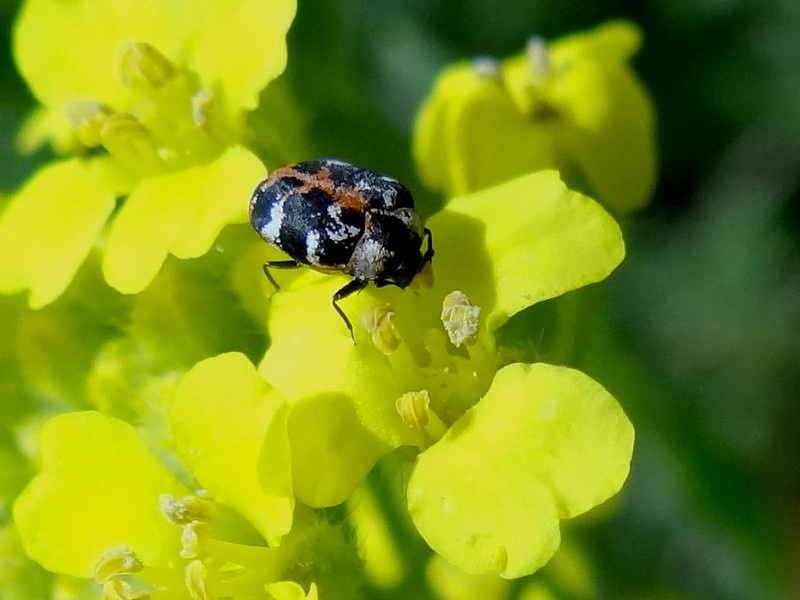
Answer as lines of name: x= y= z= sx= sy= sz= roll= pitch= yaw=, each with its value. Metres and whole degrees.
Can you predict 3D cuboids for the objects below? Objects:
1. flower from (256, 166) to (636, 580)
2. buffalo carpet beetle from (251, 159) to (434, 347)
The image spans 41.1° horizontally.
flower: x=0.117 y=0.161 z=1.604 sx=0.565 sy=0.144 sz=0.576 roll=-41 pitch=66 yaw=0
buffalo carpet beetle: x=-0.100 y=-0.096 z=1.786 sx=0.290 sy=0.105 sz=0.248 roll=37 pitch=64 yaw=-3
